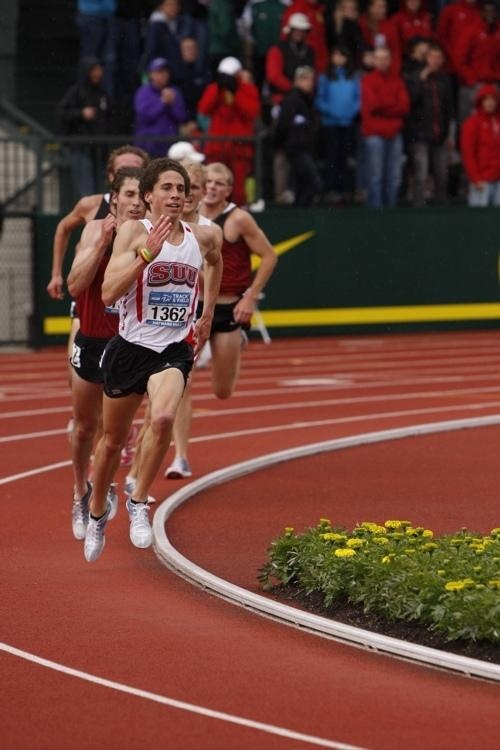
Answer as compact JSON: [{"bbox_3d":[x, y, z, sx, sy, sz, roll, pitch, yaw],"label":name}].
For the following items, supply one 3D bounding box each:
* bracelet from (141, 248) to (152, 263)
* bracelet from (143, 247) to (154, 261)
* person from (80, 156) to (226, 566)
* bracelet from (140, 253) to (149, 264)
[{"bbox_3d":[-0.450,-0.521,3.418,0.035,0.048,0.056,-24,35,19],"label":"bracelet"},{"bbox_3d":[-0.446,-0.531,3.417,0.030,0.041,0.049,-26,-17,1],"label":"bracelet"},{"bbox_3d":[-0.501,-0.043,4.086,0.719,1.991,1.252,-5,5,1],"label":"person"},{"bbox_3d":[-0.453,-0.510,3.420,0.045,0.040,0.043,0,19,-1],"label":"bracelet"}]
